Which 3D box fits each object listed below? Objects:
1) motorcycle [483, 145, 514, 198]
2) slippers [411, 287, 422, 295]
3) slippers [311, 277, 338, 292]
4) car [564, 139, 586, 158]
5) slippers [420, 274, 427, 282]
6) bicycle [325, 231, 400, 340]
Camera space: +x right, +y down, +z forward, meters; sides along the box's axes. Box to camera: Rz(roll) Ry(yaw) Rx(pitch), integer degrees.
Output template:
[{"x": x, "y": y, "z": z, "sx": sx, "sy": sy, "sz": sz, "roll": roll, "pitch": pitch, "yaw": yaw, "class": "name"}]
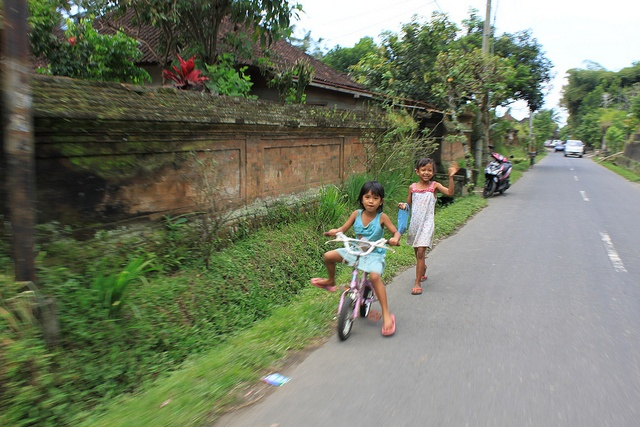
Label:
[{"x": 6.950, "y": -1.502, "z": 14.374, "sx": 0.838, "sy": 1.606, "sz": 1.475, "roll": 8, "pitch": 16, "yaw": 35, "class": "motorcycle"}, {"x": 1.464, "y": 1.167, "z": 5.510, "sx": 0.157, "sy": 0.081, "sz": 0.120, "roll": 2, "pitch": 13, "yaw": 11, "class": "slippers"}, {"x": 0.076, "y": 0.924, "z": 4.748, "sx": 0.398, "sy": 0.106, "sz": 0.149, "roll": 27, "pitch": -6, "yaw": -22, "class": "slippers"}, {"x": 31.088, "y": -7.963, "z": 44.794, "sx": 1.802, "sy": 1.470, "sz": 3.045, "roll": 4, "pitch": 0, "yaw": 28, "class": "car"}, {"x": 1.694, "y": 1.046, "z": 5.936, "sx": 0.075, "sy": 0.078, "sz": 0.202, "roll": -3, "pitch": 2, "yaw": 20, "class": "slippers"}, {"x": 0.453, "y": 0.823, "z": 4.405, "sx": 0.675, "sy": 0.922, "sz": 1.390, "roll": 0, "pitch": 0, "yaw": 24, "class": "bicycle"}]
